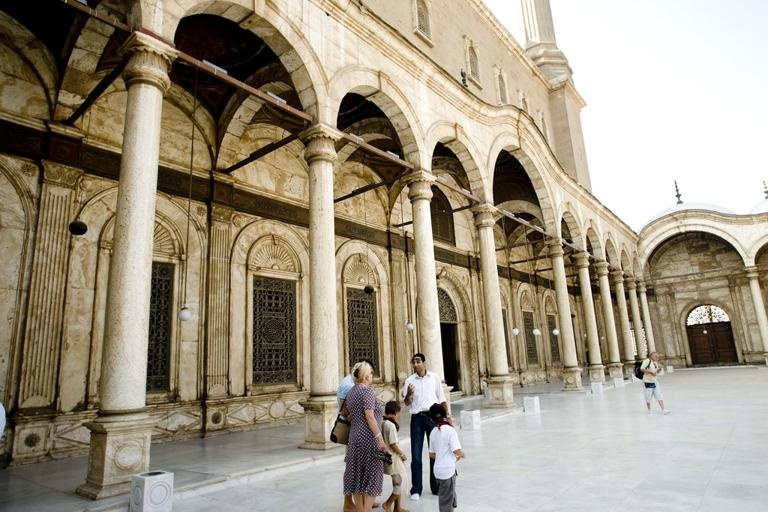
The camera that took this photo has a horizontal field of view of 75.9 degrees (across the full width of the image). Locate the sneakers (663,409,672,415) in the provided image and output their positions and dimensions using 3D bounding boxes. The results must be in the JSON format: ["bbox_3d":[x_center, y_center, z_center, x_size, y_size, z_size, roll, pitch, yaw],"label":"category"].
[{"bbox_3d":[7.429,4.095,12.923,0.303,0.129,0.118,-7,-9,9],"label":"sneakers"}]

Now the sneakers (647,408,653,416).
[{"bbox_3d":[7.158,4.216,13.308,0.130,0.168,0.406,-6,-9,37],"label":"sneakers"}]

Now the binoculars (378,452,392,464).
[{"bbox_3d":[0.007,2.870,6.977,0.136,0.086,0.223,15,-7,-35],"label":"binoculars"}]
